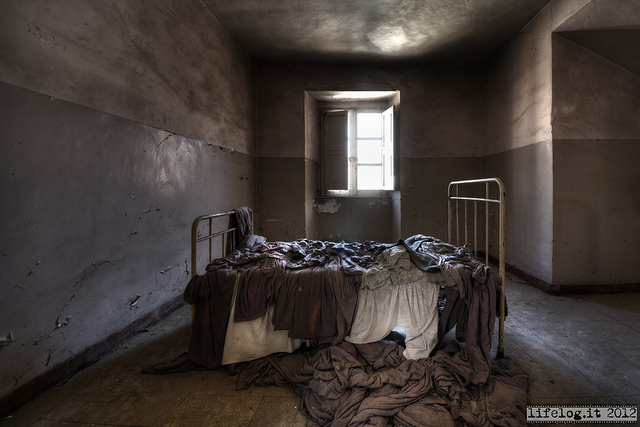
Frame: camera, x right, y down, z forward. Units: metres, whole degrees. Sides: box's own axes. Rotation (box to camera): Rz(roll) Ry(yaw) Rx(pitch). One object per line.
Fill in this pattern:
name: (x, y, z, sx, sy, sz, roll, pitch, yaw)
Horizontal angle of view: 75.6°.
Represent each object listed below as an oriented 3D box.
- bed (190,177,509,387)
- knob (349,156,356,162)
bed: (0.300, 0.690, 4.223, 2.554, 1.559, 2.013, 1, 0, 6)
knob: (0.509, -0.916, 6.883, 0.105, 0.092, 0.031, 1, 2, -10)
